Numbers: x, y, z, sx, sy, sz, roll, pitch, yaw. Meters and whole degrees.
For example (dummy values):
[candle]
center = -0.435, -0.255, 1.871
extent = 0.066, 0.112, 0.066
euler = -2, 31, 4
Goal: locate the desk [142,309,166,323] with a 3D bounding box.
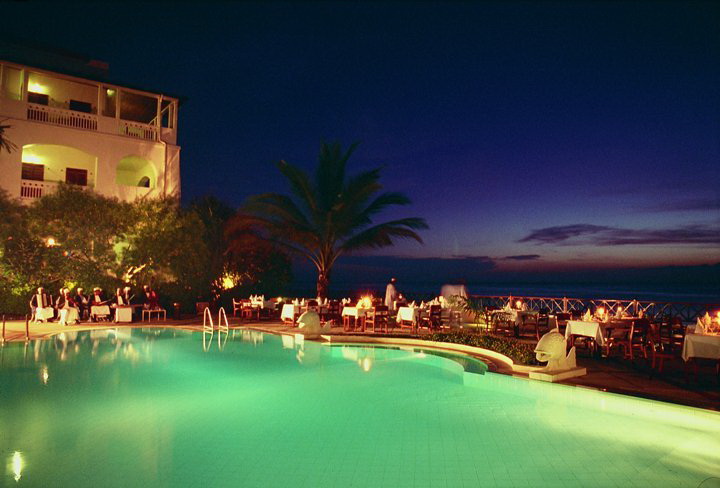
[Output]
[desk]
center = -10.339, 3.484, 25.138
extent = 0.902, 0.569, 0.911
euler = 4, -6, -32
